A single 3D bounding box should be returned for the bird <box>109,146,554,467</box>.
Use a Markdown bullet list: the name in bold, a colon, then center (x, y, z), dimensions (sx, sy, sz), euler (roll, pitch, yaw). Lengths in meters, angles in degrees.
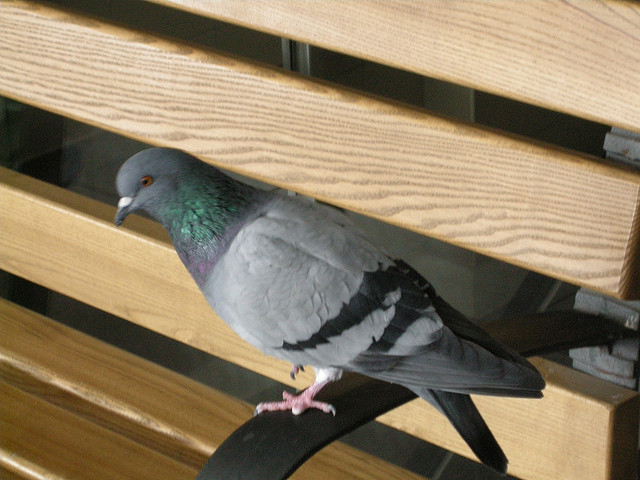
- **bird**: center (0.047, 0.024, 1.617), dimensions (0.868, 0.569, 0.305), euler (9, 16, 20)
